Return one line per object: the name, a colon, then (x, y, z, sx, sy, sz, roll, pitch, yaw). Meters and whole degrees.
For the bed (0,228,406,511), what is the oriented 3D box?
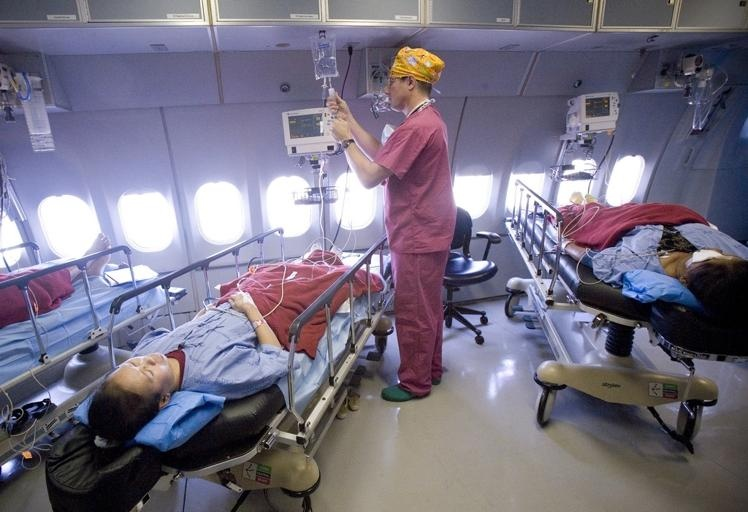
bed: (-0.947, 0.933, 3.723, 1.642, 0.898, 2.859, 4, 24, 15)

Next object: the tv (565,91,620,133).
tv: (2.384, -1.557, 5.138, 0.430, 0.381, 0.435, -5, 9, 1)

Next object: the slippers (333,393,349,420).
slippers: (-0.279, 1.350, 4.075, 0.084, 0.101, 0.259, -2, 3, 1)

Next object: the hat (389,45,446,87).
hat: (0.346, -1.525, 3.732, 0.367, 0.210, 0.272, 19, 43, 11)

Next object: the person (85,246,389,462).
person: (-1.040, 0.616, 3.764, 1.255, 0.511, 2.347, 16, 29, 36)

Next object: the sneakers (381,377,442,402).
sneakers: (0.346, 1.236, 4.344, 0.493, 0.199, 0.168, 0, 15, -6)

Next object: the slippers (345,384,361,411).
slippers: (-0.173, 1.298, 4.318, 0.094, 0.169, 0.245, -2, 13, 3)

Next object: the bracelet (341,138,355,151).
bracelet: (-0.211, -0.886, 3.722, 0.115, 0.075, 0.097, 4, 19, 20)

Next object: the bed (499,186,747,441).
bed: (2.134, 0.380, 4.558, 1.328, 1.533, 2.705, 0, 17, -5)
